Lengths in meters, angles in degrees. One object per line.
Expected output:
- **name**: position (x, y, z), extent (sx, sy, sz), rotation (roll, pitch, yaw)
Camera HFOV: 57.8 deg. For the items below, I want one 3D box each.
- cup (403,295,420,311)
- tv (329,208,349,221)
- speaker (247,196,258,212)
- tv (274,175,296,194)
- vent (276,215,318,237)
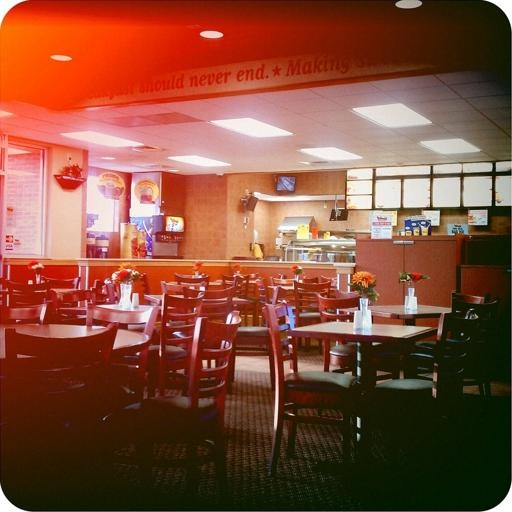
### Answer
- **cup**: position (1.594, 0.491, 4.857), extent (0.171, 0.236, 0.152), rotation (-1, 1, 1)
- **tv**: position (2.301, -1.182, 13.251), extent (0.469, 0.337, 0.626), rotation (2, -1, 8)
- **speaker**: position (-0.127, -1.454, 12.866), extent (0.253, 0.395, 0.451), rotation (2, -1, 2)
- **tv**: position (0.834, -2.122, 13.860), extent (0.688, 0.529, 0.066), rotation (4, -5, 4)
- **vent**: position (1.208, -0.913, 14.148), extent (1.073, 0.675, 0.762), rotation (2, -1, 22)
